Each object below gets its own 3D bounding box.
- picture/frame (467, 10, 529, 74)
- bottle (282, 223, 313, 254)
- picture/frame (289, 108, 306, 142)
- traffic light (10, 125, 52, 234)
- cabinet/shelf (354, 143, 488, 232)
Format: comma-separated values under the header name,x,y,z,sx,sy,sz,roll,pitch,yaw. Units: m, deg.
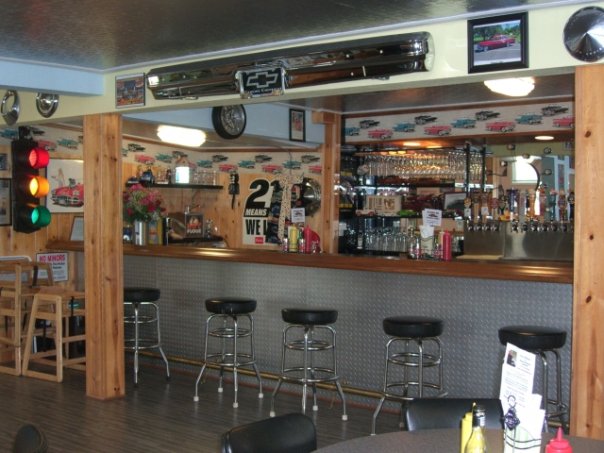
name,x,y,z,sx,sy,sz,roll,pitch,yaw
picture/frame,1.262,-1.178,3.354,0.503,0.376,0.032,1,1,28
bottle,-0.009,0.143,6.727,0.431,0.387,0.333,0,-1,28
picture/frame,-0.068,-1.478,7.656,0.048,0.520,0.577,-2,-2,31
traffic light,-3.078,-0.548,6.027,0.371,1.220,0.449,-2,3,-25
cabinet/shelf,2.072,-0.849,9.215,2.999,1.613,1.489,2,6,27
